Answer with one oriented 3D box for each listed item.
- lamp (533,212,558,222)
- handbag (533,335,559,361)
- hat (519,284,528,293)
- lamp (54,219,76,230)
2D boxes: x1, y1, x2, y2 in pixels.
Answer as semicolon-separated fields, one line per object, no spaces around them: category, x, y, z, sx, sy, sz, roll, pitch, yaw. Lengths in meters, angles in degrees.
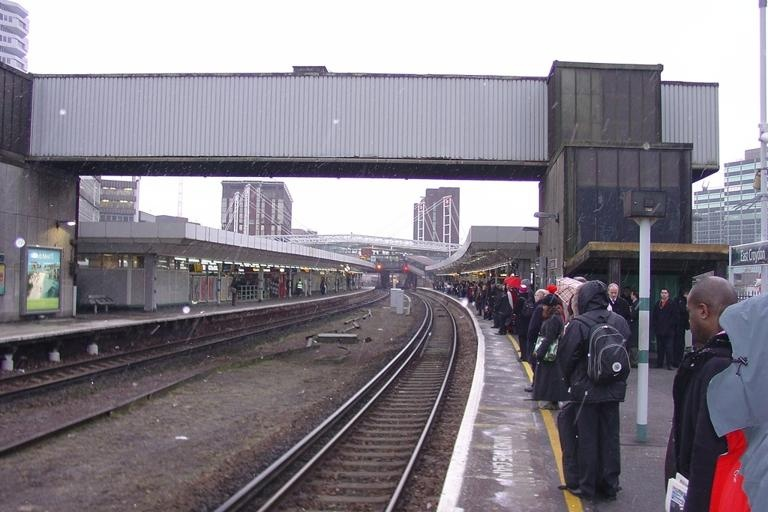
lamp;5.976;-1.438;27.994;0.743;0.310;2.738;1;-1;8
handbag;3.570;2.019;16.600;0.544;0.627;0.266;0;-5;24
hat;4.222;0.994;22.831;0.158;0.235;0.226;-2;-2;7
lamp;-13.478;-1.337;32.310;0.359;0.415;1.390;1;-1;6
